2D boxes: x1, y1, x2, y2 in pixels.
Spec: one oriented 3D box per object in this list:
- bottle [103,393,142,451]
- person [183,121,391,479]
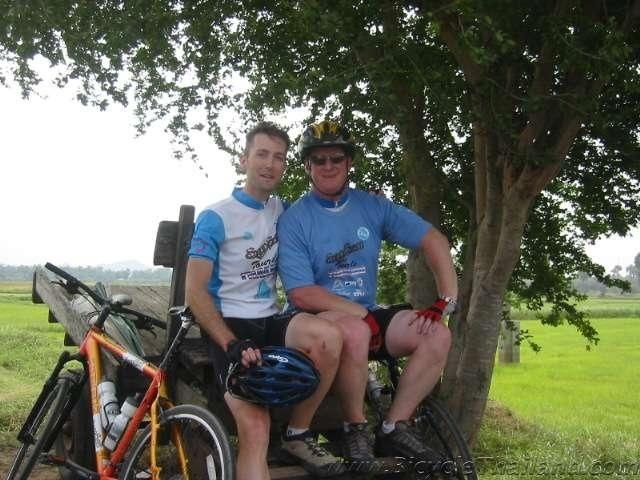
[{"bbox_3d":[-1.882,1.768,5.562,0.333,0.461,0.110,3,1,19],"label":"bottle"},{"bbox_3d":[-0.511,0.412,5.120,1.275,2.891,0.958,3,0,42],"label":"person"}]
